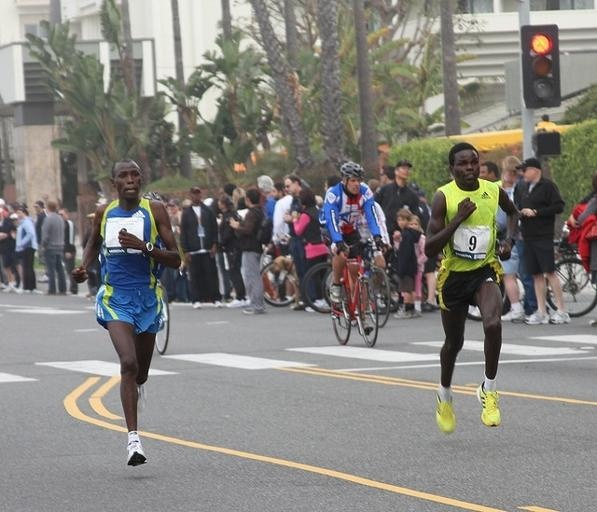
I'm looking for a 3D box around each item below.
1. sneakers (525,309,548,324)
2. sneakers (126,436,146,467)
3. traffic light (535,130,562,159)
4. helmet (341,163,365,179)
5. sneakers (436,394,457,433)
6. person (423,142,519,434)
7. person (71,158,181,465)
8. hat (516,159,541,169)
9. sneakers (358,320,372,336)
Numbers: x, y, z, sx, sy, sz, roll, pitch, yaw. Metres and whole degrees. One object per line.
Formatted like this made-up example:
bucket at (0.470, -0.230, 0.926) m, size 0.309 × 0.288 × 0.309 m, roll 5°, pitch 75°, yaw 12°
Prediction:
sneakers at (3.639, 0.945, 12.923) m, size 0.373 × 0.199 × 0.145 m, roll 0°, pitch -1°, yaw -14°
sneakers at (-1.024, 1.236, 5.348) m, size 0.105 × 0.155 × 0.137 m, roll -6°, pitch 7°, yaw -14°
traffic light at (4.107, -1.838, 13.916) m, size 0.425 × 0.385 × 0.365 m, roll -4°, pitch 7°, yaw 0°
helmet at (0.673, -1.106, 11.081) m, size 0.190 × 0.147 × 0.266 m, roll -2°, pitch 3°, yaw -24°
sneakers at (1.064, 1.151, 6.100) m, size 0.119 × 0.305 × 0.261 m, roll -3°, pitch 7°, yaw 10°
person at (1.253, 0.225, 6.147) m, size 0.589 × 2.067 × 0.870 m, roll -2°, pitch 7°, yaw 15°
person at (-1.167, 0.400, 5.982) m, size 0.756 × 2.123 × 1.256 m, roll -5°, pitch 7°, yaw -15°
hat at (3.447, -1.354, 12.543) m, size 0.261 × 0.156 × 0.393 m, roll -2°, pitch 8°, yaw 14°
sneakers at (0.884, 0.934, 11.107) m, size 0.180 × 0.198 × 0.138 m, roll 7°, pitch 5°, yaw 26°
